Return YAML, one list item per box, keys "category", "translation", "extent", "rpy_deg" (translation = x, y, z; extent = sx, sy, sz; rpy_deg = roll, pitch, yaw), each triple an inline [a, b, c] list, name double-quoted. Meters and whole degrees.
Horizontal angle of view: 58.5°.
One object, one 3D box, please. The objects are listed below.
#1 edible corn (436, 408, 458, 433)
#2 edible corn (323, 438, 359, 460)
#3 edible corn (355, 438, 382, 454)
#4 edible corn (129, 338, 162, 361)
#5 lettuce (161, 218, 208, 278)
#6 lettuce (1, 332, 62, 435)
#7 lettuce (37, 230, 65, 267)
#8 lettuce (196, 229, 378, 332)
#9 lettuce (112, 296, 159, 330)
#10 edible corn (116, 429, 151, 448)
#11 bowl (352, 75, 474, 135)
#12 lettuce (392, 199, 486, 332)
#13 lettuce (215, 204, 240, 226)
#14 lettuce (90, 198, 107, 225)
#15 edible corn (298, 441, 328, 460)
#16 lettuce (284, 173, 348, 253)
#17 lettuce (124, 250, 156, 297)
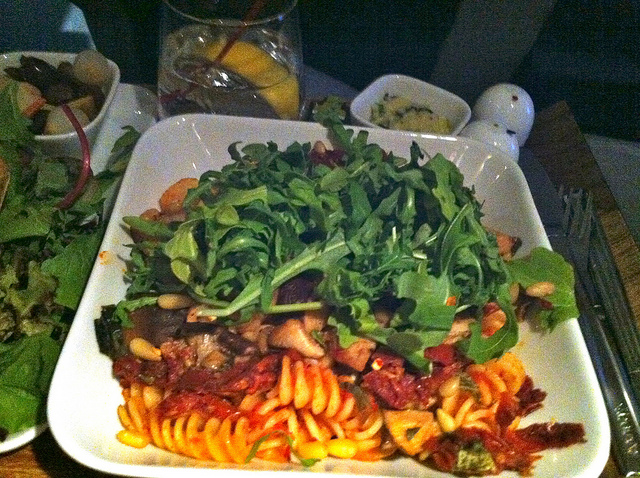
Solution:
- category: "edible corn"
  translation: [0.319, 0.461, 1.456]
  extent: [0.040, 0.022, 0.058]
  rpy_deg: [-40, 68, -7]
- category: "edible corn"
  translation: [0.052, 0.527, 1.444]
  extent: [0.080, 0.039, 0.039]
  rpy_deg: [7, 56, 7]
- category: "edible corn"
  translation: [0.126, 0.524, 1.470]
  extent: [0.067, 0.013, 0.027]
  rpy_deg: [-11, 62, -17]
- category: "edible corn"
  translation: [-0.463, 0.292, 1.512]
  extent: [0.087, 0.028, 0.045]
  rpy_deg: [31, 89, 2]
- category: "lettuce"
  translation: [-0.346, 0.013, 1.448]
  extent: [0.153, 0.046, 0.140]
  rpy_deg: [-13, 71, -9]
- category: "lettuce"
  translation: [-0.729, 0.361, 1.436]
  extent: [0.201, 0.048, 0.214]
  rpy_deg: [4, 64, -25]
- category: "lettuce"
  translation: [-0.750, 0.025, 1.599]
  extent: [0.092, 0.080, 0.041]
  rpy_deg: [-3, 29, -16]
- category: "lettuce"
  translation: [-0.003, 0.078, 1.476]
  extent: [0.272, 0.358, 0.105]
  rpy_deg: [-20, 52, -9]
- category: "lettuce"
  translation: [-0.502, 0.201, 1.557]
  extent: [0.070, 0.029, 0.115]
  rpy_deg: [42, 29, 21]
- category: "edible corn"
  translation: [-0.464, 0.498, 1.423]
  extent: [0.064, 0.036, 0.013]
  rpy_deg: [20, 102, -12]
- category: "bowl"
  translation: [0.333, -0.481, 2.109]
  extent: [0.380, 0.114, 0.272]
  rpy_deg: [13, 46, 11]
- category: "lettuce"
  translation: [0.349, 0.057, 1.533]
  extent: [0.184, 0.094, 0.386]
  rpy_deg: [-6, 45, 43]
- category: "lettuce"
  translation: [-0.247, -0.064, 1.526]
  extent: [0.062, 0.054, 0.073]
  rpy_deg: [4, 59, -9]
- category: "lettuce"
  translation: [-0.662, -0.074, 1.718]
  extent: [0.022, 0.061, 0.046]
  rpy_deg: [13, 19, 40]
- category: "edible corn"
  translation: [-0.018, 0.525, 1.420]
  extent: [0.062, 0.030, 0.032]
  rpy_deg: [-3, 41, 5]
- category: "lettuce"
  translation: [0.003, -0.089, 1.557]
  extent: [0.208, 0.073, 0.184]
  rpy_deg: [-5, 95, 24]
- category: "lettuce"
  translation: [-0.502, 0.096, 1.605]
  extent: [0.128, 0.037, 0.112]
  rpy_deg: [0, 80, 24]
